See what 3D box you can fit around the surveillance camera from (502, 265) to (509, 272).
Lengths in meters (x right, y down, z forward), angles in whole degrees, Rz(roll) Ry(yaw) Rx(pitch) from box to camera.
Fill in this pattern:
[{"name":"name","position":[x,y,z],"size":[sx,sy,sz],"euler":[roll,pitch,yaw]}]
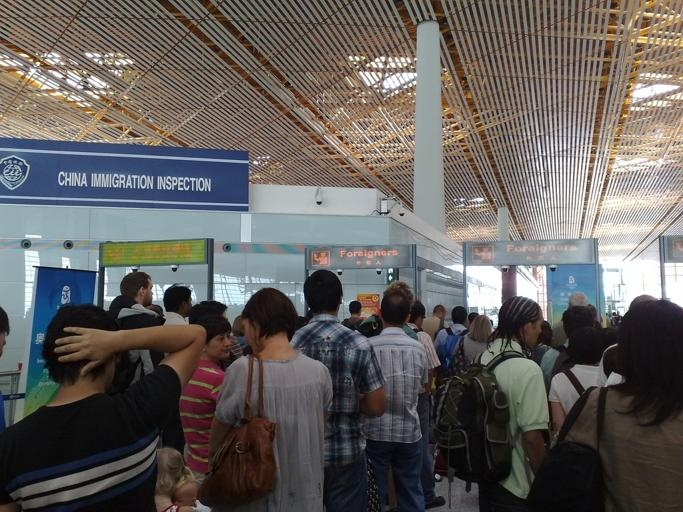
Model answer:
[{"name":"surveillance camera","position":[2.907,0.210,8.666],"size":[0.119,0.084,0.115],"euler":[1,-7,-10]}]

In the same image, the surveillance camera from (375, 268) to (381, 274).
[{"name":"surveillance camera","position":[0.702,0.300,9.277],"size":[0.130,0.122,0.085],"euler":[0,-6,4]}]

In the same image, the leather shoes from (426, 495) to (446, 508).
[{"name":"leather shoes","position":[0.798,2.060,4.117],"size":[0.086,0.090,0.219],"euler":[-3,-9,44]}]

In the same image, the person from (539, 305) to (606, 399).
[{"name":"person","position":[1.696,0.679,3.584],"size":[0.237,0.742,0.275],"euler":[-3,-16,-16]}]

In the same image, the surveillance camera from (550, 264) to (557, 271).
[{"name":"surveillance camera","position":[3.715,0.196,8.571],"size":[0.123,0.086,0.118],"euler":[-2,-2,-8]}]

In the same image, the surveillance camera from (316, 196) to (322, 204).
[{"name":"surveillance camera","position":[-0.427,-1.094,9.606],"size":[0.137,0.127,0.097],"euler":[1,-21,5]}]

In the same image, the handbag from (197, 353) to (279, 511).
[{"name":"handbag","position":[-0.410,0.742,2.006],"size":[0.303,0.634,0.234],"euler":[4,-7,-8]}]

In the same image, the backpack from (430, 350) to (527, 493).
[{"name":"backpack","position":[0.675,0.806,2.458],"size":[0.565,0.641,0.477],"euler":[6,-15,-11]}]
